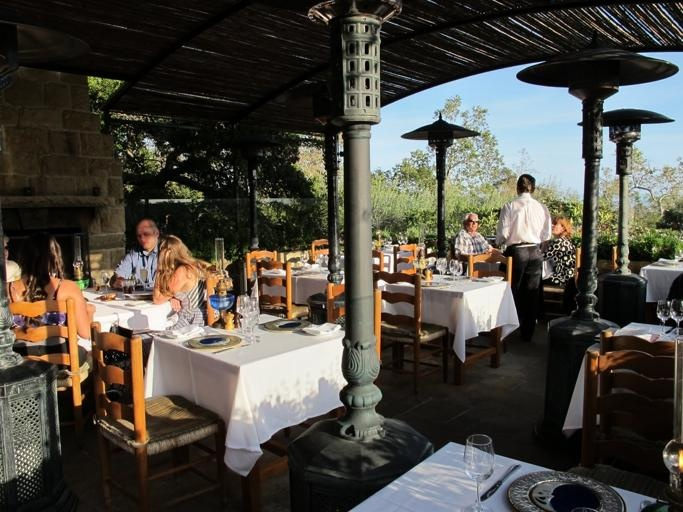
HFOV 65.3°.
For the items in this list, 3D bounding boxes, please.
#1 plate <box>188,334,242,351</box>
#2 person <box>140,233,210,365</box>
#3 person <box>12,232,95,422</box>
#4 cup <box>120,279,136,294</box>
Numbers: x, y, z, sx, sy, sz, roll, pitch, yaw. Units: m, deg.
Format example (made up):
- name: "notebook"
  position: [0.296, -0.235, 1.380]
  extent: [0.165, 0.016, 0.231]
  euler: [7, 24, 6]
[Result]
- name: "plate"
  position: [-0.892, 0.596, 3.766]
  extent: [0.396, 0.040, 0.339]
  euler: [0, 8, 12]
- name: "person"
  position: [-1.391, 0.203, 4.660]
  extent: [0.460, 0.793, 0.335]
  euler: [-5, 10, -17]
- name: "person"
  position: [-2.361, 0.653, 4.406]
  extent: [0.616, 1.646, 0.735]
  euler: [-6, 11, -26]
- name: "cup"
  position: [-2.182, 0.312, 5.430]
  extent: [0.165, 0.154, 0.135]
  euler: [-5, -8, 27]
